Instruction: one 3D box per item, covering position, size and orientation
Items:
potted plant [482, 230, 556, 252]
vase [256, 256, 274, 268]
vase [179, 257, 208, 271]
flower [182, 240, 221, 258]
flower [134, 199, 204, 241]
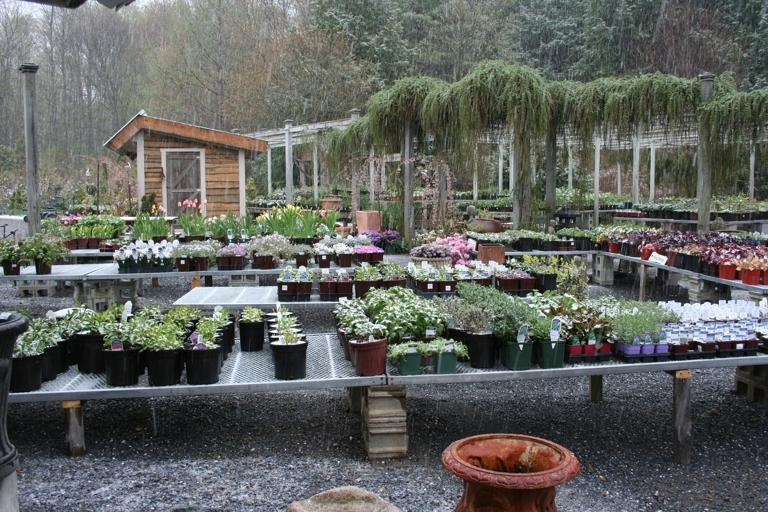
[{"bbox_3d":[2.371,-0.263,11.993,1.361,0.346,0.544,-2,4,5],"label":"potted plant"},{"bbox_3d":[-1.770,0.096,10.183,0.203,0.160,0.175,0,-1,-12],"label":"vase"},{"bbox_3d":[-2.820,0.123,10.022,0.299,0.145,0.208,0,1,-11],"label":"vase"},{"bbox_3d":[-2.755,-0.098,10.292,0.536,0.223,0.695,-3,4,-9],"label":"flower"},{"bbox_3d":[-3.964,-0.607,12.273,1.387,0.694,1.068,0,3,-7],"label":"flower"}]
